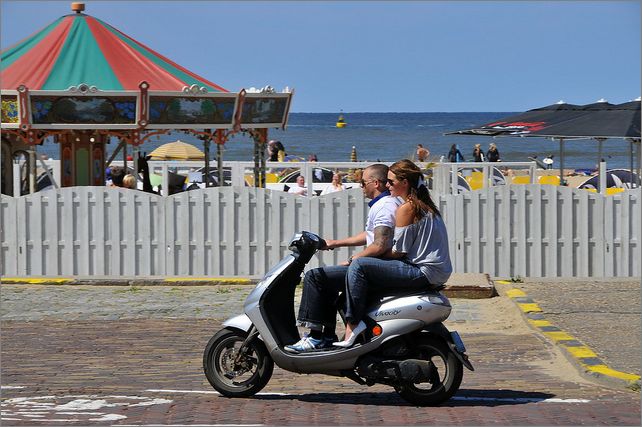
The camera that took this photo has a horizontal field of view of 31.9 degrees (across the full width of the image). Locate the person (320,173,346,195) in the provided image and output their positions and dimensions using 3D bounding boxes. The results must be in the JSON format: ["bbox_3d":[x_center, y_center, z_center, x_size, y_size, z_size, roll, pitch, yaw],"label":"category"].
[{"bbox_3d":[0.176,-0.665,25.673,0.894,0.425,0.447,0,0,32],"label":"person"}]

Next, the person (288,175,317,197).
[{"bbox_3d":[-0.493,-0.598,26.745,0.860,0.480,0.695,2,-5,-28],"label":"person"}]

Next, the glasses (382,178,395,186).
[{"bbox_3d":[0.862,-0.385,14.156,0.111,0.084,0.030,3,15,26],"label":"glasses"}]

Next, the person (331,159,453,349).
[{"bbox_3d":[0.921,0.514,13.978,1.371,2.299,0.457,0,4,0],"label":"person"}]
